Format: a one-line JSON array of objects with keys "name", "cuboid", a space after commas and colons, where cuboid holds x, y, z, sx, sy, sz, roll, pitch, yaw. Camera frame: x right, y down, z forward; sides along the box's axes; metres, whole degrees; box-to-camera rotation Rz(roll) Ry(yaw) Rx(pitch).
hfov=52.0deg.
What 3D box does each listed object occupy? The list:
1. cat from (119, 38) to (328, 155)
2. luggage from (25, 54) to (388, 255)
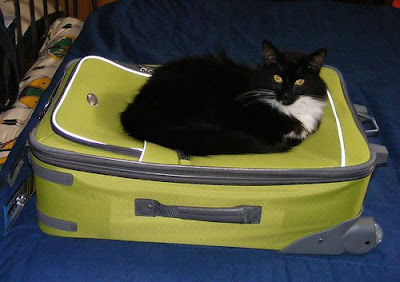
[{"name": "cat", "cuboid": [0.112, -0.151, 1.691, 0.636, 0.284, 0.531, 18, 43, 28]}, {"name": "luggage", "cuboid": [0.011, 0.041, 1.596, 1.053, 0.404, 0.826, 4, 40, 0]}]
